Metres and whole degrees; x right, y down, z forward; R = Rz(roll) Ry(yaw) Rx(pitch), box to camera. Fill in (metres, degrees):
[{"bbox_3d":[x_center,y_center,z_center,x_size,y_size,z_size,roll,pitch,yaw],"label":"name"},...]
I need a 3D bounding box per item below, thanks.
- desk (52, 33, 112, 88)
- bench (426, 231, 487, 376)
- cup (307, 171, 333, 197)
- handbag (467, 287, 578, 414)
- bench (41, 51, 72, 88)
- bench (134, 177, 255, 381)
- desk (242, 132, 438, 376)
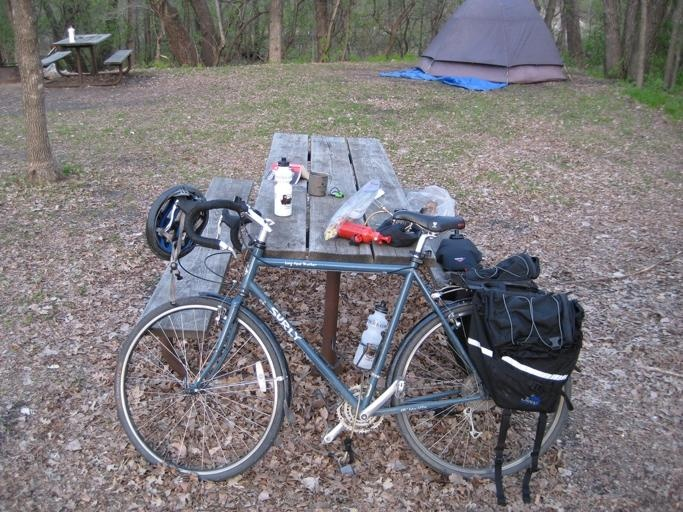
[{"bbox_3d":[-6.253,-4.917,13.586,0.651,1.290,0.623,-22,78,-36],"label":"desk"},{"bbox_3d":[0.893,0.308,4.071,0.462,1.004,0.441,0,11,16],"label":"bench"},{"bbox_3d":[-0.169,-0.570,4.418,0.190,0.185,0.180,3,34,-2],"label":"cup"},{"bbox_3d":[1.138,0.562,3.832,0.871,0.890,0.736,1,13,1],"label":"handbag"},{"bbox_3d":[-7.050,-4.774,13.621,0.605,0.651,2.467,-14,30,-22],"label":"bench"},{"bbox_3d":[-1.088,0.245,4.104,0.501,0.493,2.013,3,44,-1],"label":"bench"},{"bbox_3d":[-0.030,0.049,4.378,1.050,0.614,2.535,5,39,-7],"label":"desk"}]
